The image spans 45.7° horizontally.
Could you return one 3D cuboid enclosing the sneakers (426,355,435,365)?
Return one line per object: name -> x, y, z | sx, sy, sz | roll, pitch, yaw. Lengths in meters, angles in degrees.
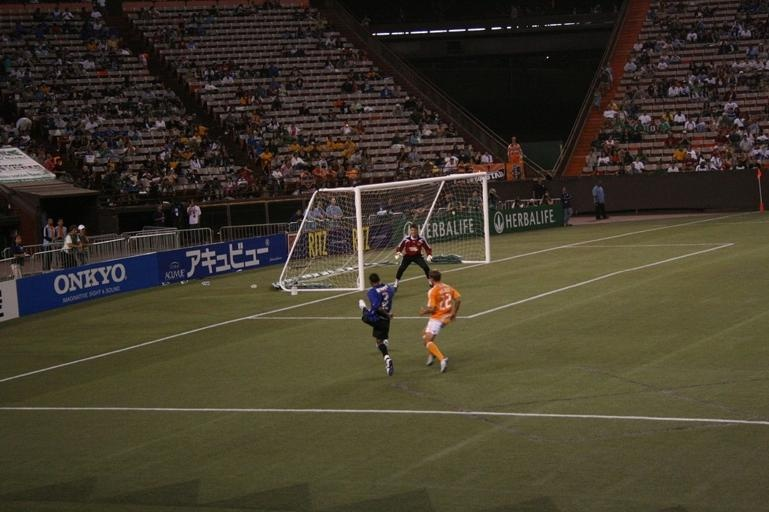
sneakers -> 1.216, 2.777, 24.212 | 0.130, 0.257, 0.365 | 16, -37, 2
